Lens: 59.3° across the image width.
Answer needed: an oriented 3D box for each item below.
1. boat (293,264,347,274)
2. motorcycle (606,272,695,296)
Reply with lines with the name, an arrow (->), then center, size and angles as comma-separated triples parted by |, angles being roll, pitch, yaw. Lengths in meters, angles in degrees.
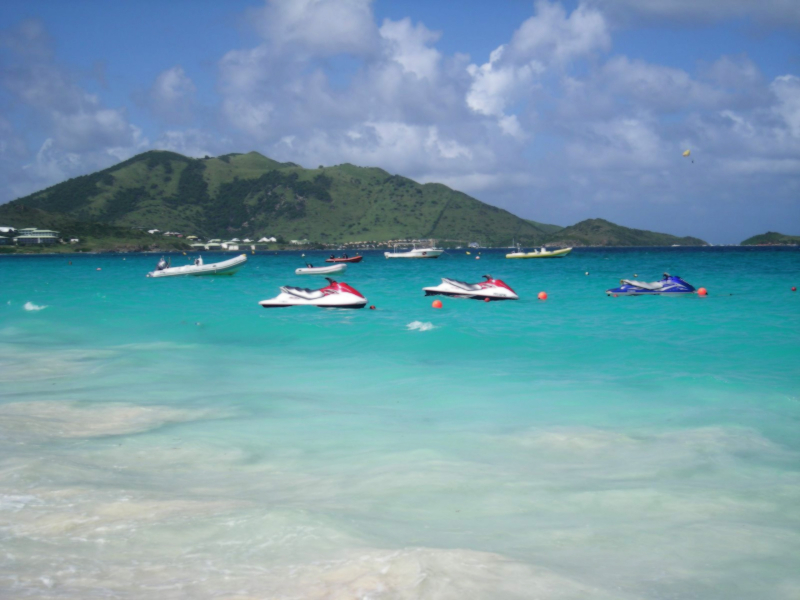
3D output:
boat -> -9.798, -3.745, 86.420 | 3.033, 1.728, 6.176 | -6, 11, -39
motorcycle -> 15.209, -0.828, 45.435 | 7.901, 1.448, 1.654 | 0, 1, -1
